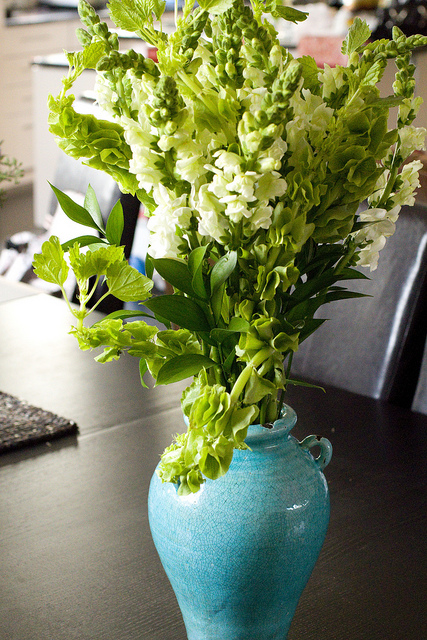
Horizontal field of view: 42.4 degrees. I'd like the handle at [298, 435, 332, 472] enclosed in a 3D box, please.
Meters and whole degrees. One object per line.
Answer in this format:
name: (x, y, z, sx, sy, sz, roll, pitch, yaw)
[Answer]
handle: (0.092, 0.120, 0.504, 0.026, 0.011, 0.034, 29, 68, -7)
